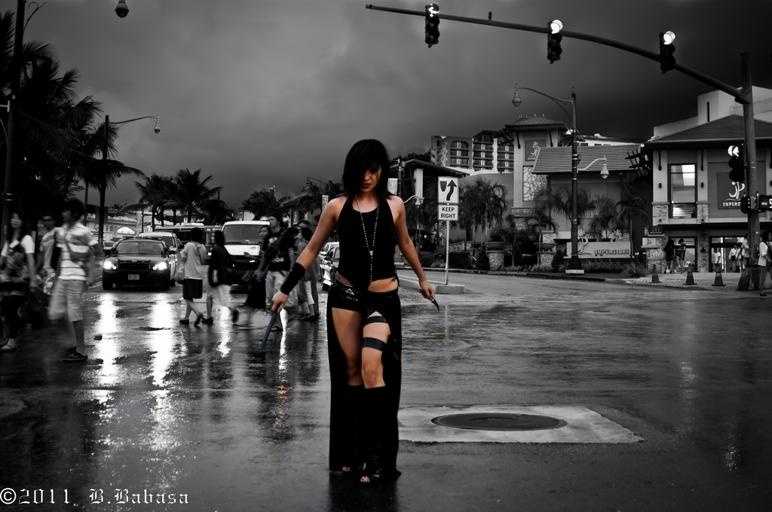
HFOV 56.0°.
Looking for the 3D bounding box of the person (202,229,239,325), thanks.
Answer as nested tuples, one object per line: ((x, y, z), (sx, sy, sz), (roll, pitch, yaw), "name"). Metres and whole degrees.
((-3.627, 0.491, 15.992), (0.640, 2.045, 0.953), (0, -1, -13), "person")

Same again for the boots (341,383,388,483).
((-0.183, 1.575, 6.418), (0.347, 0.822, 0.165), (0, -1, 4), "boots")

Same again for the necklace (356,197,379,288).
((-0.151, -0.091, 6.419), (0.168, 0.665, 0.115), (0, -1, -1), "necklace")

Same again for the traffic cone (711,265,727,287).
((17.015, 1.043, 37.053), (0.808, 1.109, 0.894), (-2, 0, -44), "traffic cone")

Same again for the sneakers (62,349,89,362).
((-4.866, 1.574, 11.218), (0.373, 0.172, 0.217), (2, -1, 12), "sneakers")

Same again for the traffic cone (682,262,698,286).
((16.193, 0.997, 38.682), (0.788, 1.155, 0.823), (-2, -2, 0), "traffic cone")

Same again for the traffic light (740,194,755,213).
((13.241, -1.888, 26.418), (0.524, 0.649, 0.494), (-1, -1, 29), "traffic light")

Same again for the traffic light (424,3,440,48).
((1.248, -6.205, 19.586), (0.369, 1.272, 0.565), (0, -1, 1), "traffic light")

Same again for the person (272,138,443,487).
((-0.258, 0.477, 6.505), (0.975, 3.024, 0.490), (0, -1, 2), "person")

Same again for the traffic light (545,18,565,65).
((4.736, -5.960, 20.274), (0.392, 1.097, 0.334), (0, -1, 22), "traffic light")

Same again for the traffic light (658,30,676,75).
((7.990, -5.721, 20.541), (0.425, 1.163, 0.582), (0, -1, 21), "traffic light")
